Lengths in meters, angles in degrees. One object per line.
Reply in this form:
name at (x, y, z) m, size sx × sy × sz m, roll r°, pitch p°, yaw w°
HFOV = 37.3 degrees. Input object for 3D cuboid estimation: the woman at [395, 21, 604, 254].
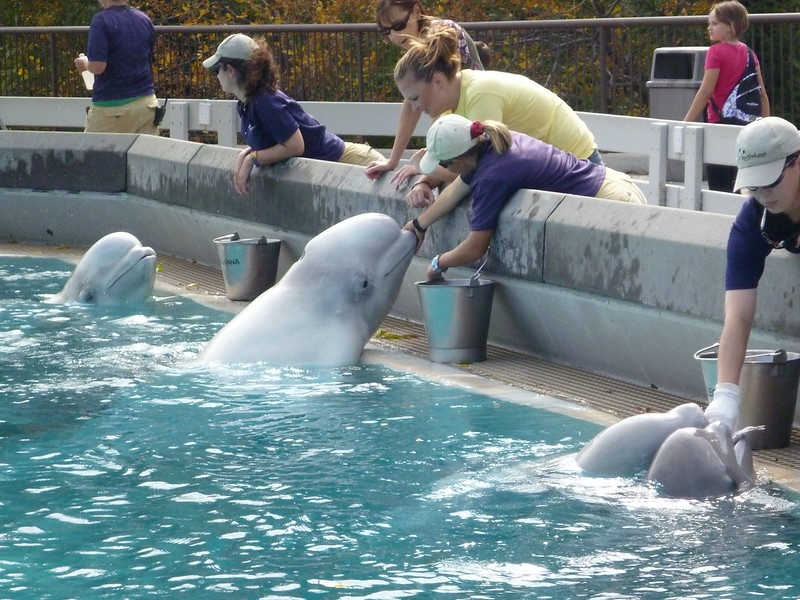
woman at (0.810, -1.202, 7.734) m, size 1.837 × 0.989 × 0.658 m, roll -3°, pitch 9°, yaw -24°

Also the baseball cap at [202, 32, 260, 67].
baseball cap at (-1.264, -1.882, 8.885) m, size 0.366 × 0.198 × 0.230 m, roll 2°, pitch 16°, yaw 6°

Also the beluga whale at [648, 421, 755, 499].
beluga whale at (1.360, 0.724, 5.464) m, size 0.438 × 0.345 × 0.735 m, roll -9°, pitch -7°, yaw 34°

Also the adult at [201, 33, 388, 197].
adult at (-0.750, -1.446, 9.524) m, size 2.002 × 1.250 × 0.777 m, roll -8°, pitch 16°, yaw -41°

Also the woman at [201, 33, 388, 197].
woman at (-0.734, -1.445, 9.550) m, size 1.978 × 1.226 × 0.773 m, roll -8°, pitch 17°, yaw -41°

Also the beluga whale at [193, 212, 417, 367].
beluga whale at (-0.430, -0.101, 7.439) m, size 1.608 × 0.635 × 0.609 m, roll -18°, pitch 32°, yaw -35°

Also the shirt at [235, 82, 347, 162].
shirt at (-0.868, -1.325, 9.358) m, size 0.929 × 0.608 × 0.706 m, roll 0°, pitch 0°, yaw 9°

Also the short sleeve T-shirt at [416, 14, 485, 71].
short sleeve T-shirt at (0.427, -1.828, 8.520) m, size 0.285 × 0.261 × 0.899 m, roll 16°, pitch 10°, yaw -10°

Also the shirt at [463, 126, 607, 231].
shirt at (0.739, -0.746, 7.192) m, size 1.050 × 0.402 × 0.369 m, roll 9°, pitch -35°, yaw -5°

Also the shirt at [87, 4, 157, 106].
shirt at (-2.638, -2.270, 11.037) m, size 0.403 × 0.914 × 0.819 m, roll 5°, pitch 10°, yaw 24°

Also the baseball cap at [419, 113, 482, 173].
baseball cap at (0.297, -0.926, 7.062) m, size 0.290 × 0.207 × 0.402 m, roll 15°, pitch -10°, yaw -20°

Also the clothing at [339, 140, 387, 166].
clothing at (-0.296, -1.161, 9.483) m, size 0.359 × 0.111 × 0.241 m, roll 25°, pitch 50°, yaw 26°

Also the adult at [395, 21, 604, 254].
adult at (0.823, -1.186, 7.726) m, size 1.837 × 0.999 × 0.647 m, roll -1°, pitch 4°, yaw -24°
